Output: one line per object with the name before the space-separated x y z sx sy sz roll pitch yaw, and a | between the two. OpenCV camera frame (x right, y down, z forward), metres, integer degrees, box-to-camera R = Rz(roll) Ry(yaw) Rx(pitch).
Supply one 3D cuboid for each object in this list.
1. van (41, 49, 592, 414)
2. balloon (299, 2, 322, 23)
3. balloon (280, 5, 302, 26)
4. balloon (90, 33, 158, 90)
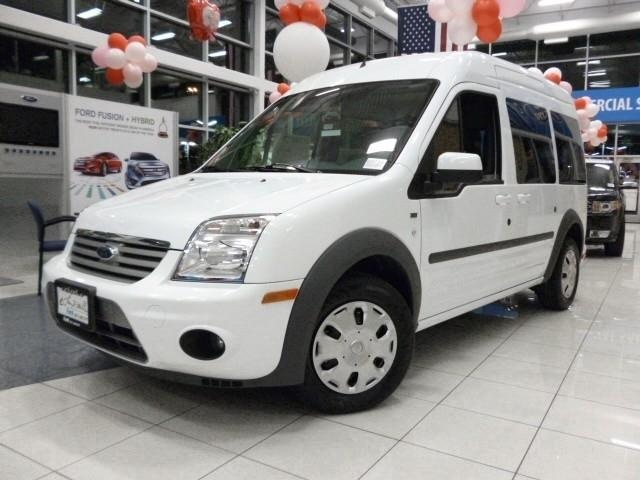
van | 0.297 -0.120 3.313 3.652 1.759 2.002 1 -2 -45
balloon | -0.114 -2.706 5.217 0.241 0.240 0.283 -12 10 -23
balloon | -0.341 -2.791 5.364 0.240 0.270 0.239 15 33 14
balloon | -3.362 -2.981 7.195 1.020 0.817 1.029 6 5 42
